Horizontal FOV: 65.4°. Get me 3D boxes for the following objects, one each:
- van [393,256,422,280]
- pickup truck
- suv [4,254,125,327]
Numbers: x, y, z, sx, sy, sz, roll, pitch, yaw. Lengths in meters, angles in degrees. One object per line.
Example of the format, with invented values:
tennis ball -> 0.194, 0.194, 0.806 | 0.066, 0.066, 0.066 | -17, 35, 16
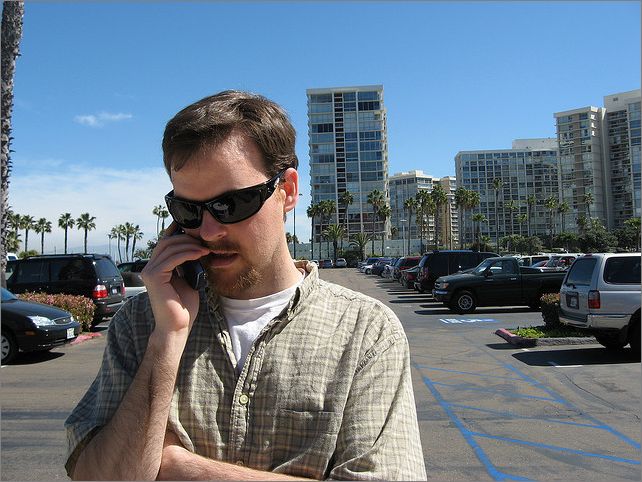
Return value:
van -> 5.207, 1.582, 30.794 | 1.096, 0.837, 1.777 | -3, 2, -23
pickup truck -> 6.304, 1.488, 17.119 | 4.990, 1.645, 2.001 | -1, -3, -1
suv -> -7.920, 1.052, 14.396 | 4.854, 2.037, 2.474 | 1, -2, 8
